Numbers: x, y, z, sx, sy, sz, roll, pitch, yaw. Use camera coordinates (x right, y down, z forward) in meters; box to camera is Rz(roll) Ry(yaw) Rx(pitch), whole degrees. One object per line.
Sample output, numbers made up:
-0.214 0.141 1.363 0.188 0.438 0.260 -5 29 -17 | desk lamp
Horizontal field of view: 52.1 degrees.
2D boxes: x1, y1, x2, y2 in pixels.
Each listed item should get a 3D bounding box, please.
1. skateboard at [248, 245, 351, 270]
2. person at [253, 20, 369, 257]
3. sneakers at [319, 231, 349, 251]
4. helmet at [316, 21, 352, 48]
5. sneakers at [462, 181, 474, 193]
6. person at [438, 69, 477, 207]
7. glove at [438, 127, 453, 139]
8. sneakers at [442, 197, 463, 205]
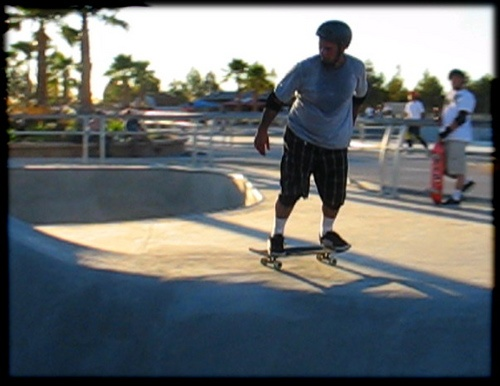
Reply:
0.360 0.456 3.858 0.946 0.171 0.238 0 8 -18 | skateboard
0.447 -0.375 3.770 0.822 1.660 0.540 4 6 2 | person
0.647 0.365 3.938 0.206 0.096 0.115 11 19 33 | sneakers
0.574 -1.084 3.474 0.229 0.177 0.100 4 6 3 | helmet
2.601 -0.080 6.098 0.100 0.160 0.038 25 20 13 | sneakers
2.468 -0.654 6.037 0.446 1.583 0.429 6 6 20 | person
2.281 -0.701 5.976 0.057 0.135 0.084 21 36 -33 | glove
2.401 0.105 6.147 0.266 0.114 0.099 5 5 13 | sneakers
